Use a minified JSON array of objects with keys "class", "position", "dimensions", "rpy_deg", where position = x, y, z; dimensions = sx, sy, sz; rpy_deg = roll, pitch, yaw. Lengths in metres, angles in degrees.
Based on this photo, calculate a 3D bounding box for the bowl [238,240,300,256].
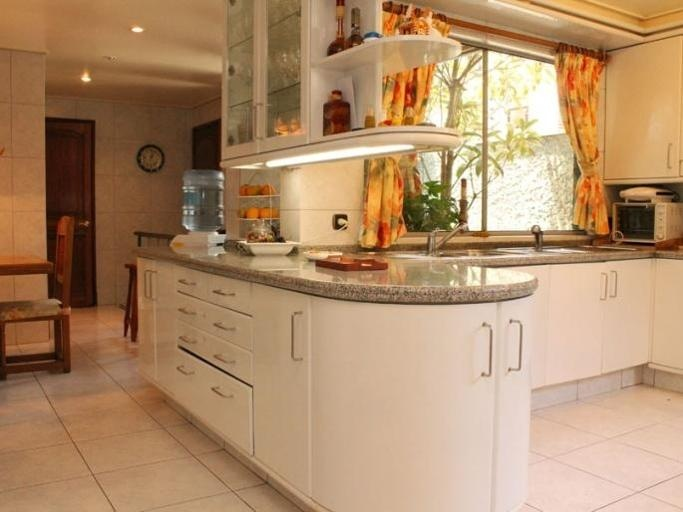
[{"class":"bowl","position":[-0.470,-0.046,3.597],"dimensions":[0.314,0.104,0.141],"rpy_deg":[-4,8,-31]}]

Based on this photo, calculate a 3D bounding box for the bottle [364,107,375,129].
[{"class":"bottle","position":[0.146,-0.711,2.774],"dimensions":[0.058,0.122,0.161],"rpy_deg":[1,7,2]}]

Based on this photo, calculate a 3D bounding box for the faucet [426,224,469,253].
[{"class":"faucet","position":[0.779,-0.143,4.063],"dimensions":[0.275,0.223,0.507],"rpy_deg":[1,7,5]}]

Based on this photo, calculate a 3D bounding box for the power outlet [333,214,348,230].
[{"class":"power outlet","position":[-0.006,-0.246,3.909],"dimensions":[0.117,0.106,0.027],"rpy_deg":[4,-1,-35]}]

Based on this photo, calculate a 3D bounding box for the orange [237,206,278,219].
[{"class":"orange","position":[-0.600,-0.313,3.969],"dimensions":[0.286,0.083,0.094],"rpy_deg":[-1,7,-12]}]

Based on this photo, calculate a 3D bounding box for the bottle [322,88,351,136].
[{"class":"bottle","position":[-0.038,-0.766,2.899],"dimensions":[0.127,0.246,0.184],"rpy_deg":[-6,10,-40]}]

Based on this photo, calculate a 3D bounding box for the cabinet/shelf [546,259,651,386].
[{"class":"cabinet/shelf","position":[1.910,0.476,4.096],"dimensions":[1.026,0.713,0.569],"rpy_deg":[-1,1,-29]}]

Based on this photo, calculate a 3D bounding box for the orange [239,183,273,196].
[{"class":"orange","position":[-0.624,-0.488,3.994],"dimensions":[0.246,0.084,0.173],"rpy_deg":[7,9,43]}]

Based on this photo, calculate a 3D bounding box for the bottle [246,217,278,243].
[{"class":"bottle","position":[-0.559,-0.164,3.711],"dimensions":[0.208,0.203,0.209],"rpy_deg":[0,-1,4]}]

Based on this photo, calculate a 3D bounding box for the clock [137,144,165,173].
[{"class":"clock","position":[-2.787,-1.414,7.985],"dimensions":[0.392,0.381,0.384],"rpy_deg":[0,-1,-34]}]
